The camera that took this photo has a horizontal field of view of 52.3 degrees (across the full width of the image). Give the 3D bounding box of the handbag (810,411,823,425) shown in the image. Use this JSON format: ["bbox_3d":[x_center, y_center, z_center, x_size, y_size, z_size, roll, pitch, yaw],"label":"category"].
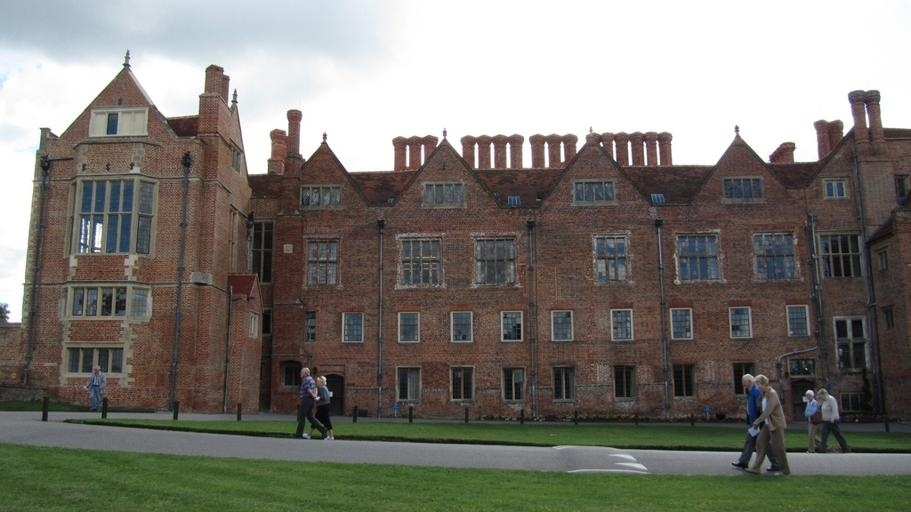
[{"bbox_3d":[19.129,8.424,48.934,0.513,0.641,0.262,1,-12,-11],"label":"handbag"}]

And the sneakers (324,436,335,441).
[{"bbox_3d":[-6.813,9.666,49.668,0.580,0.211,0.196,1,-12,-3],"label":"sneakers"}]

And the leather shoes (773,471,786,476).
[{"bbox_3d":[15.432,10.259,44.027,0.717,0.250,0.221,-12,-14,36],"label":"leather shoes"}]
